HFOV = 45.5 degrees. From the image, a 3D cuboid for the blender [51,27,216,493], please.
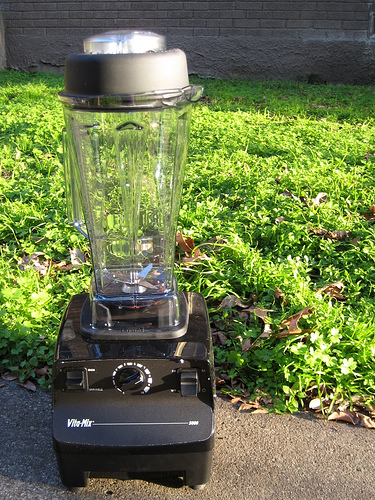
[{"bbox_3d":[-0.174,0.059,1.341,0.486,1.326,0.639,-2,23,-1],"label":"blender"}]
